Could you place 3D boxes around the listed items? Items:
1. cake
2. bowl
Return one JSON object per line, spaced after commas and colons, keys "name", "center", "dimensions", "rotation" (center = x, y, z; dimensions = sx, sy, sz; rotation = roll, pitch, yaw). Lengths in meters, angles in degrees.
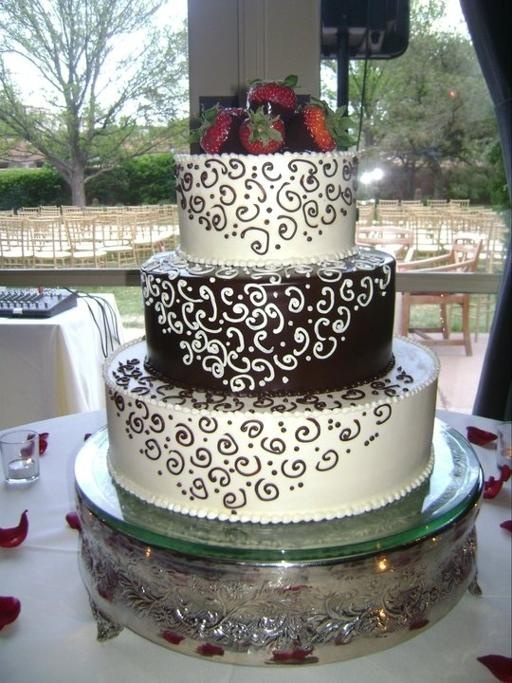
{"name": "cake", "center": [0.068, -0.057, 1.655], "dimensions": [0.926, 0.745, 0.888], "rotation": [5, 18, 17]}
{"name": "bowl", "center": [0.084, 0.538, 1.618], "dimensions": [0.913, 0.278, 0.911], "rotation": [-5, 0, 0]}
